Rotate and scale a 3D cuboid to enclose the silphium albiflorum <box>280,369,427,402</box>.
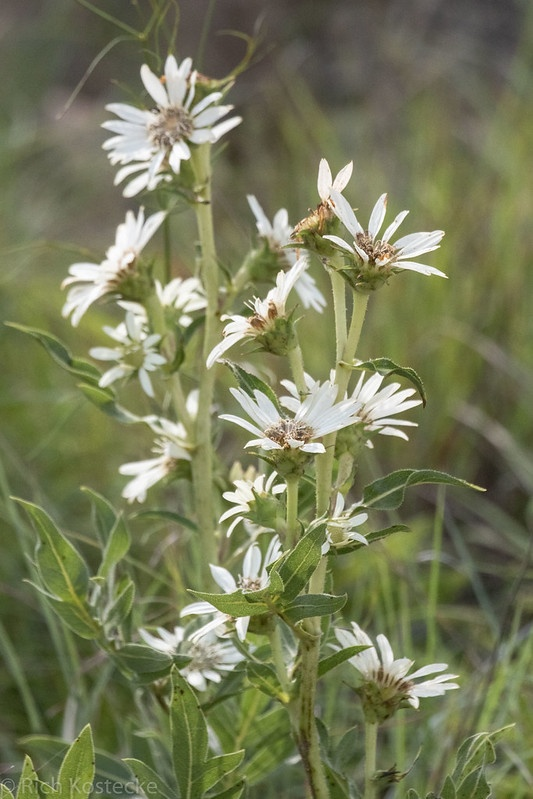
[{"bbox_3d":[0.086,-0.013,0.914,0.105,0.017,0.061,-9,29,-11],"label":"silphium albiflorum"}]

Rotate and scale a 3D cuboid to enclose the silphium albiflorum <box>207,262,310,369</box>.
[{"bbox_3d":[-0.010,-0.070,0.731,0.086,0.080,0.053,-11,37,-10],"label":"silphium albiflorum"}]

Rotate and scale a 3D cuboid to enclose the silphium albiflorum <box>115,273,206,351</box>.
[{"bbox_3d":[-0.104,-0.103,0.978,0.088,0.034,0.082,-7,60,36],"label":"silphium albiflorum"}]

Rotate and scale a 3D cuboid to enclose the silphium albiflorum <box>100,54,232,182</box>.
[{"bbox_3d":[-0.081,-0.239,0.812,0.125,0.101,0.040,-19,66,23],"label":"silphium albiflorum"}]
